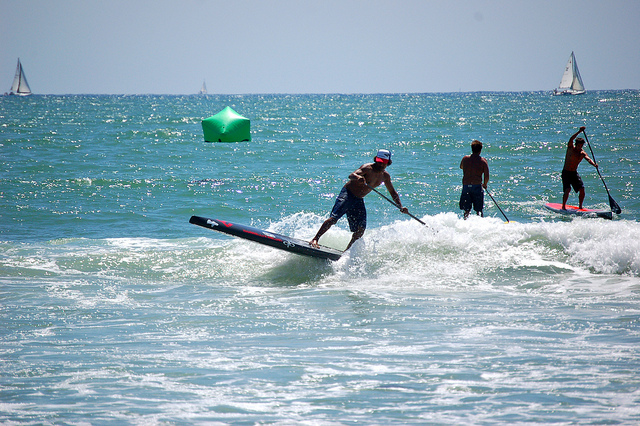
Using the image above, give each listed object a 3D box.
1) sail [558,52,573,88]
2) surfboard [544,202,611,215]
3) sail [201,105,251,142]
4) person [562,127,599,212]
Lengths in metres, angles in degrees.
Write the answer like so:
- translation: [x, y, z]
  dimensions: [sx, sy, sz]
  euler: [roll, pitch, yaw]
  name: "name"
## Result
- translation: [22.264, -12.604, 96.519]
  dimensions: [1.005, 2.707, 4.642]
  euler: [-1, 5, 12]
  name: "sail"
- translation: [7.020, -0.097, 29.786]
  dimensions: [1.745, 0.231, 0.516]
  euler: [11, 3, 43]
  name: "surfboard"
- translation: [-3.681, -3.261, 41.787]
  dimensions: [1.766, 1.011, 1.293]
  euler: [-3, 6, -7]
  name: "sail"
- translation: [7.105, -1.112, 29.077]
  dimensions: [0.802, 2.227, 1.256]
  euler: [-3, 5, -45]
  name: "person"
